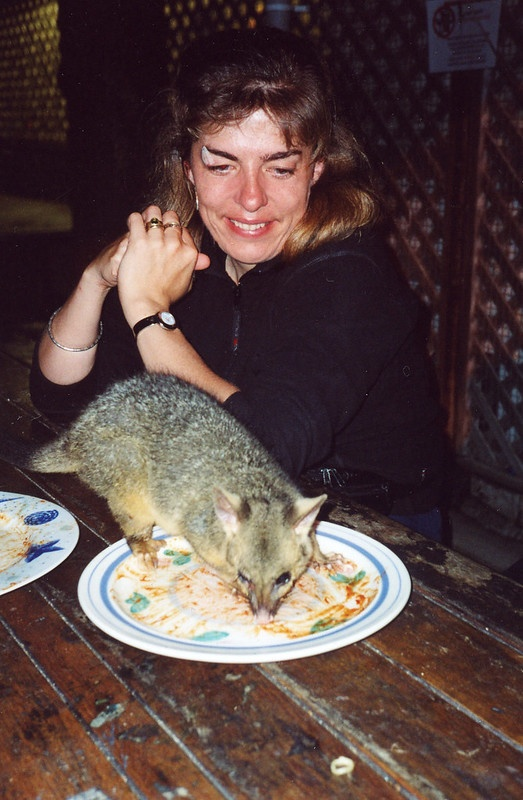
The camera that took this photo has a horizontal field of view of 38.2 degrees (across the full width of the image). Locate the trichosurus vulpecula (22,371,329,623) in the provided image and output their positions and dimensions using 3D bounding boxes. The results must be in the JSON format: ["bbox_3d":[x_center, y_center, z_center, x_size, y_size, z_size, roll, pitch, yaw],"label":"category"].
[{"bbox_3d":[-0.274,0.313,2.457,1.022,0.429,0.431,26,47,20],"label":"trichosurus vulpecula"}]

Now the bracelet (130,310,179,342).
[{"bbox_3d":[-0.368,-0.274,2.645,0.140,0.134,0.086,0,59,-26],"label":"bracelet"}]

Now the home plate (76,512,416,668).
[{"bbox_3d":[-0.041,0.441,1.818,0.786,0.108,0.759,6,15,17],"label":"home plate"}]
